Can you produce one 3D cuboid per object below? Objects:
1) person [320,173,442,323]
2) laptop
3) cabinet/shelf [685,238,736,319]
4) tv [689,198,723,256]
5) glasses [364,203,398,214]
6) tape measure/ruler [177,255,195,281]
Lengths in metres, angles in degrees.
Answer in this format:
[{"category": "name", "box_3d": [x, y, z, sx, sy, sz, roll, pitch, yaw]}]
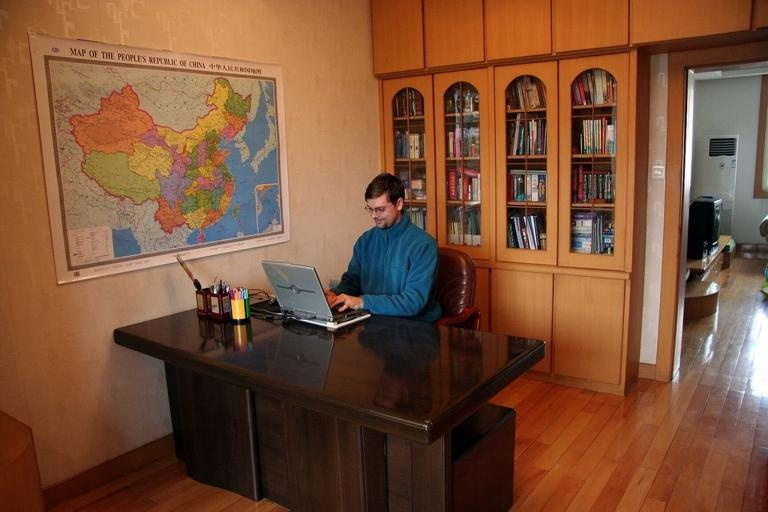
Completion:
[{"category": "person", "box_3d": [-0.002, 0.007, 3.675, 0.795, 1.014, 0.749, -10, 13, -31]}, {"category": "laptop", "box_3d": [-0.415, 0.203, 3.447, 0.501, 0.367, 0.533, 7, 9, 43]}, {"category": "cabinet/shelf", "box_3d": [4.175, 0.069, 7.050, 0.289, 0.492, 3.951, 4, 15, 35]}, {"category": "tv", "box_3d": [3.541, -0.314, 6.180, 0.359, 0.608, 0.640, 1, 6, 34]}, {"category": "glasses", "box_3d": [-0.017, -0.305, 3.615, 0.130, 0.040, 0.134, 4, 11, 39]}, {"category": "tape measure/ruler", "box_3d": [-1.316, 0.080, 3.685, 0.023, 0.218, 0.054, 23, 62, 41]}]
